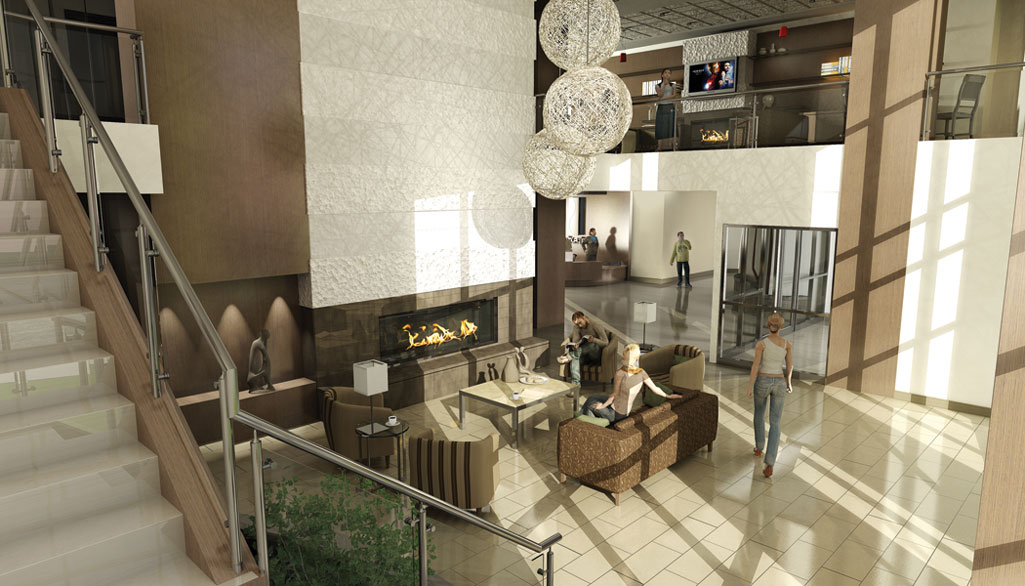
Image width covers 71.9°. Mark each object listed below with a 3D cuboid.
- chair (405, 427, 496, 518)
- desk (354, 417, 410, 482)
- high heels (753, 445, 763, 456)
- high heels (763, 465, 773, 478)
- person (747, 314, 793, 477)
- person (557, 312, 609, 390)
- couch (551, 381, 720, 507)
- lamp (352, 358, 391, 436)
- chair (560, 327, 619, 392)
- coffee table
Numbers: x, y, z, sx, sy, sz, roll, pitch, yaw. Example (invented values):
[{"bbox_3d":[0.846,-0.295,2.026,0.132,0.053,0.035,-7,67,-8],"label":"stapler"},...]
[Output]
[{"bbox_3d":[-0.889,2.723,11.023,1.338,1.073,1.083,2,6,19],"label":"chair"},{"bbox_3d":[-2.013,2.530,11.515,1.038,0.966,0.846,-3,8,-19],"label":"desk"},{"bbox_3d":[4.150,2.699,11.978,0.175,0.159,0.154,3,8,24],"label":"high heels"},{"bbox_3d":[4.126,2.915,11.448,0.141,0.181,0.190,2,-1,37],"label":"high heels"},{"bbox_3d":[4.244,1.627,11.597,0.857,2.752,0.699,-1,2,23],"label":"person"},{"bbox_3d":[1.520,1.109,14.607,1.080,1.771,0.754,0,0,14],"label":"person"},{"bbox_3d":[2.134,2.373,11.867,2.763,1.081,1.207,-12,15,-43],"label":"couch"},{"bbox_3d":[-2.205,1.701,11.228,0.478,1.100,0.502,-7,-15,5],"label":"lamp"},{"bbox_3d":[1.589,1.191,14.868,1.447,1.442,1.227,-5,12,-6],"label":"chair"},{"bbox_3d":[0.162,2.109,13.139,1.430,0.704,1.934,10,13,42],"label":"coffee table"}]
